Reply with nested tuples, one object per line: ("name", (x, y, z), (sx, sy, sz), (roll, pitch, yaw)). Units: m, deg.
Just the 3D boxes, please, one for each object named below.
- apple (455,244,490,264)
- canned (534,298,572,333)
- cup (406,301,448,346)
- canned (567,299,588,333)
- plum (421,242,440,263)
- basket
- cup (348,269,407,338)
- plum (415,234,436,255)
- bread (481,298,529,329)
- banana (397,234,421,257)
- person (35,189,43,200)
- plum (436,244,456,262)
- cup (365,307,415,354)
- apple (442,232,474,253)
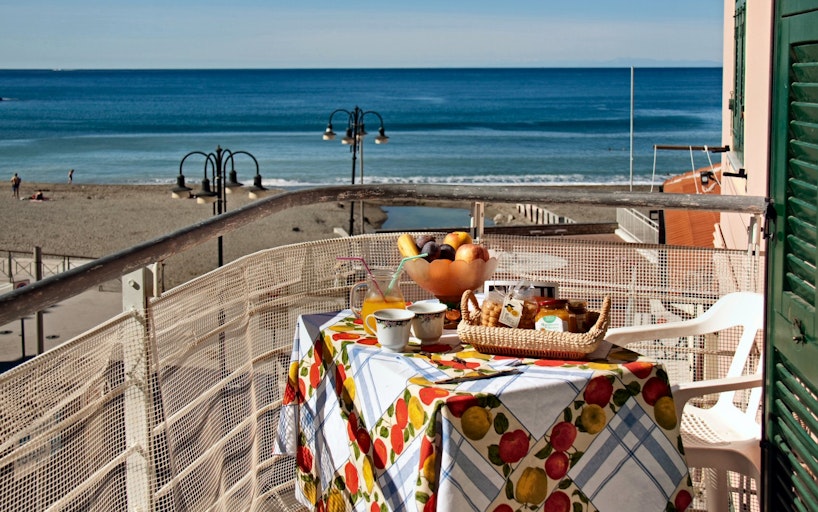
("apple", (0.287, -0.013, 2.968), (0.153, 0.074, 0.124), (-1, 6, 3))
("canned", (0.591, 0.265, 2.682), (0.155, 0.166, 0.119), (-1, -1, 25))
("cup", (0.077, 0.284, 2.767), (0.158, 0.128, 0.163), (0, 5, 0))
("canned", (0.706, 0.248, 2.691), (0.082, 0.132, 0.091), (-15, -18, 19))
("plum", (0.100, -0.021, 2.947), (0.081, 0.095, 0.078), (0, -5, 4))
("basket", (0.480, 0.225, 2.597), (0.406, 0.141, 0.326), (3, 1, 8))
("cup", (-0.140, 0.208, 2.916), (0.279, 0.253, 0.182), (-3, 4, 5))
("plum", (0.080, -0.053, 3.026), (0.088, 0.105, 0.093), (7, 24, 4))
("bread", (0.374, 0.238, 2.648), (0.125, 0.117, 0.038), (-2, -16, 10))
("banana", (-0.006, -0.050, 3.069), (0.046, 0.066, 0.136), (19, 13, -30))
("person", (-19.768, -3.183, 35.220), (0.419, 0.465, 1.181), (-5, 7, -30))
("plum", (0.157, -0.006, 3.001), (0.073, 0.069, 0.089), (-13, -30, 41))
("cup", (-0.072, 0.290, 2.642), (0.160, 0.130, 0.179), (-3, 7, -20))
("apple", (0.239, -0.062, 3.119), (0.102, 0.102, 0.100), (-19, 44, 3))
